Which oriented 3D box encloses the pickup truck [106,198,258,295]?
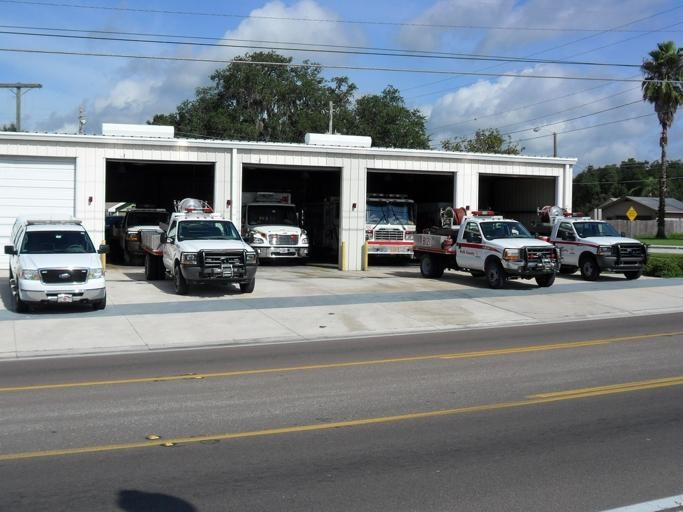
[{"bbox_3d":[-5.150,-0.454,23.115,2.459,2.521,7.483,0,1,-21],"label":"pickup truck"}]

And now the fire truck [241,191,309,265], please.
[{"bbox_3d":[-3.084,-1.377,30.541,1.870,2.455,4.175,-1,0,-16],"label":"fire truck"}]

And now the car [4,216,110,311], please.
[{"bbox_3d":[-7.794,0.108,18.467,1.811,1.554,3.625,0,2,-22],"label":"car"}]

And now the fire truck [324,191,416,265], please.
[{"bbox_3d":[1.346,-1.341,32.882,2.367,2.665,4.691,0,1,-19],"label":"fire truck"}]
